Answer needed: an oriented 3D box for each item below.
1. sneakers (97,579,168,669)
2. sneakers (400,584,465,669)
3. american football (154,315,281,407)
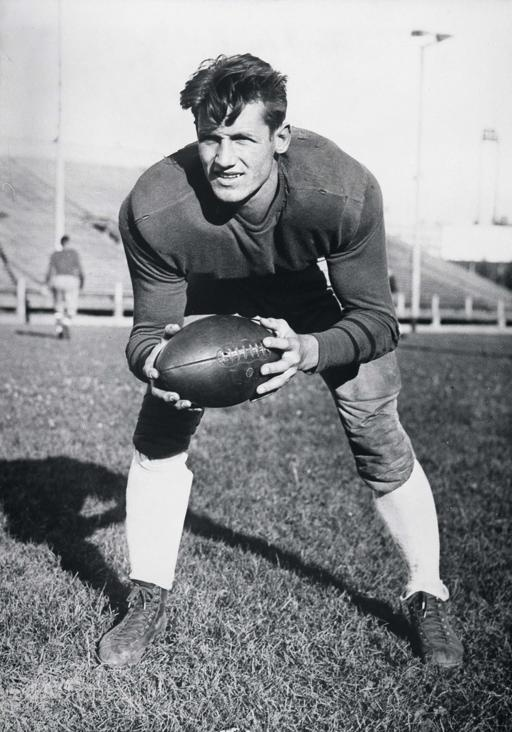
[{"bbox_3d":[-0.356,0.746,2.423,0.107,0.209,0.310,8,10,17],"label":"sneakers"},{"bbox_3d":[0.544,0.816,2.533,0.102,0.112,0.253,-6,32,-8],"label":"sneakers"},{"bbox_3d":[-0.120,-0.013,2.166,0.312,0.190,0.205,-4,-2,-37],"label":"american football"}]
